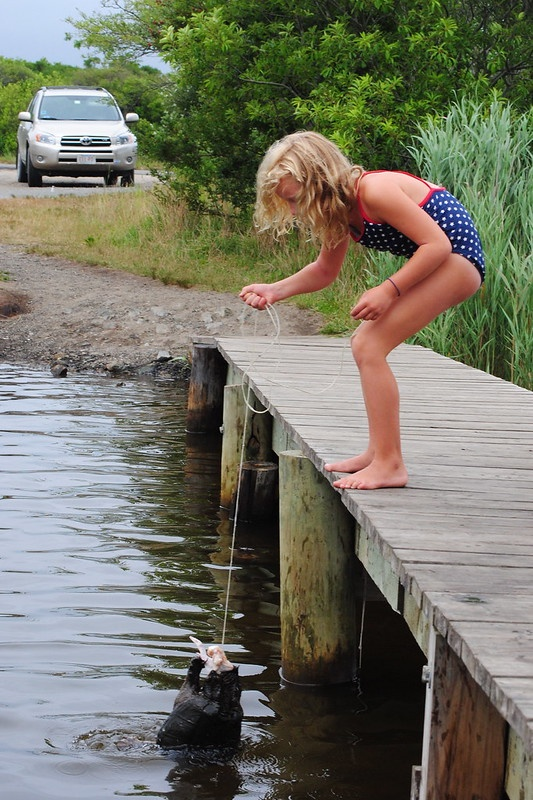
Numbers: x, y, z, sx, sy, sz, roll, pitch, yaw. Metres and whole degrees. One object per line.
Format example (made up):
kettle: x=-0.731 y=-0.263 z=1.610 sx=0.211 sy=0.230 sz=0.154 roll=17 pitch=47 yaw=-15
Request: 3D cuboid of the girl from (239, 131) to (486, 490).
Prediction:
girl: x=0.329 y=-0.307 z=3.364 sx=0.685 sy=1.149 sz=0.699 roll=13 pitch=15 yaw=30

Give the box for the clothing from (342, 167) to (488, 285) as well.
clothing: x=0.537 y=-0.559 z=3.282 sx=0.484 sy=0.389 sz=0.311 roll=8 pitch=2 yaw=-7

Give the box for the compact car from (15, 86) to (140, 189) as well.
compact car: x=-3.137 y=-4.430 z=16.129 sx=1.514 sy=1.067 sz=2.535 roll=-1 pitch=5 yaw=-14

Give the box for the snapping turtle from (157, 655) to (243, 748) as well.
snapping turtle: x=-0.203 y=0.948 z=3.109 sx=0.265 sy=0.291 sz=0.144 roll=5 pitch=13 yaw=-2
